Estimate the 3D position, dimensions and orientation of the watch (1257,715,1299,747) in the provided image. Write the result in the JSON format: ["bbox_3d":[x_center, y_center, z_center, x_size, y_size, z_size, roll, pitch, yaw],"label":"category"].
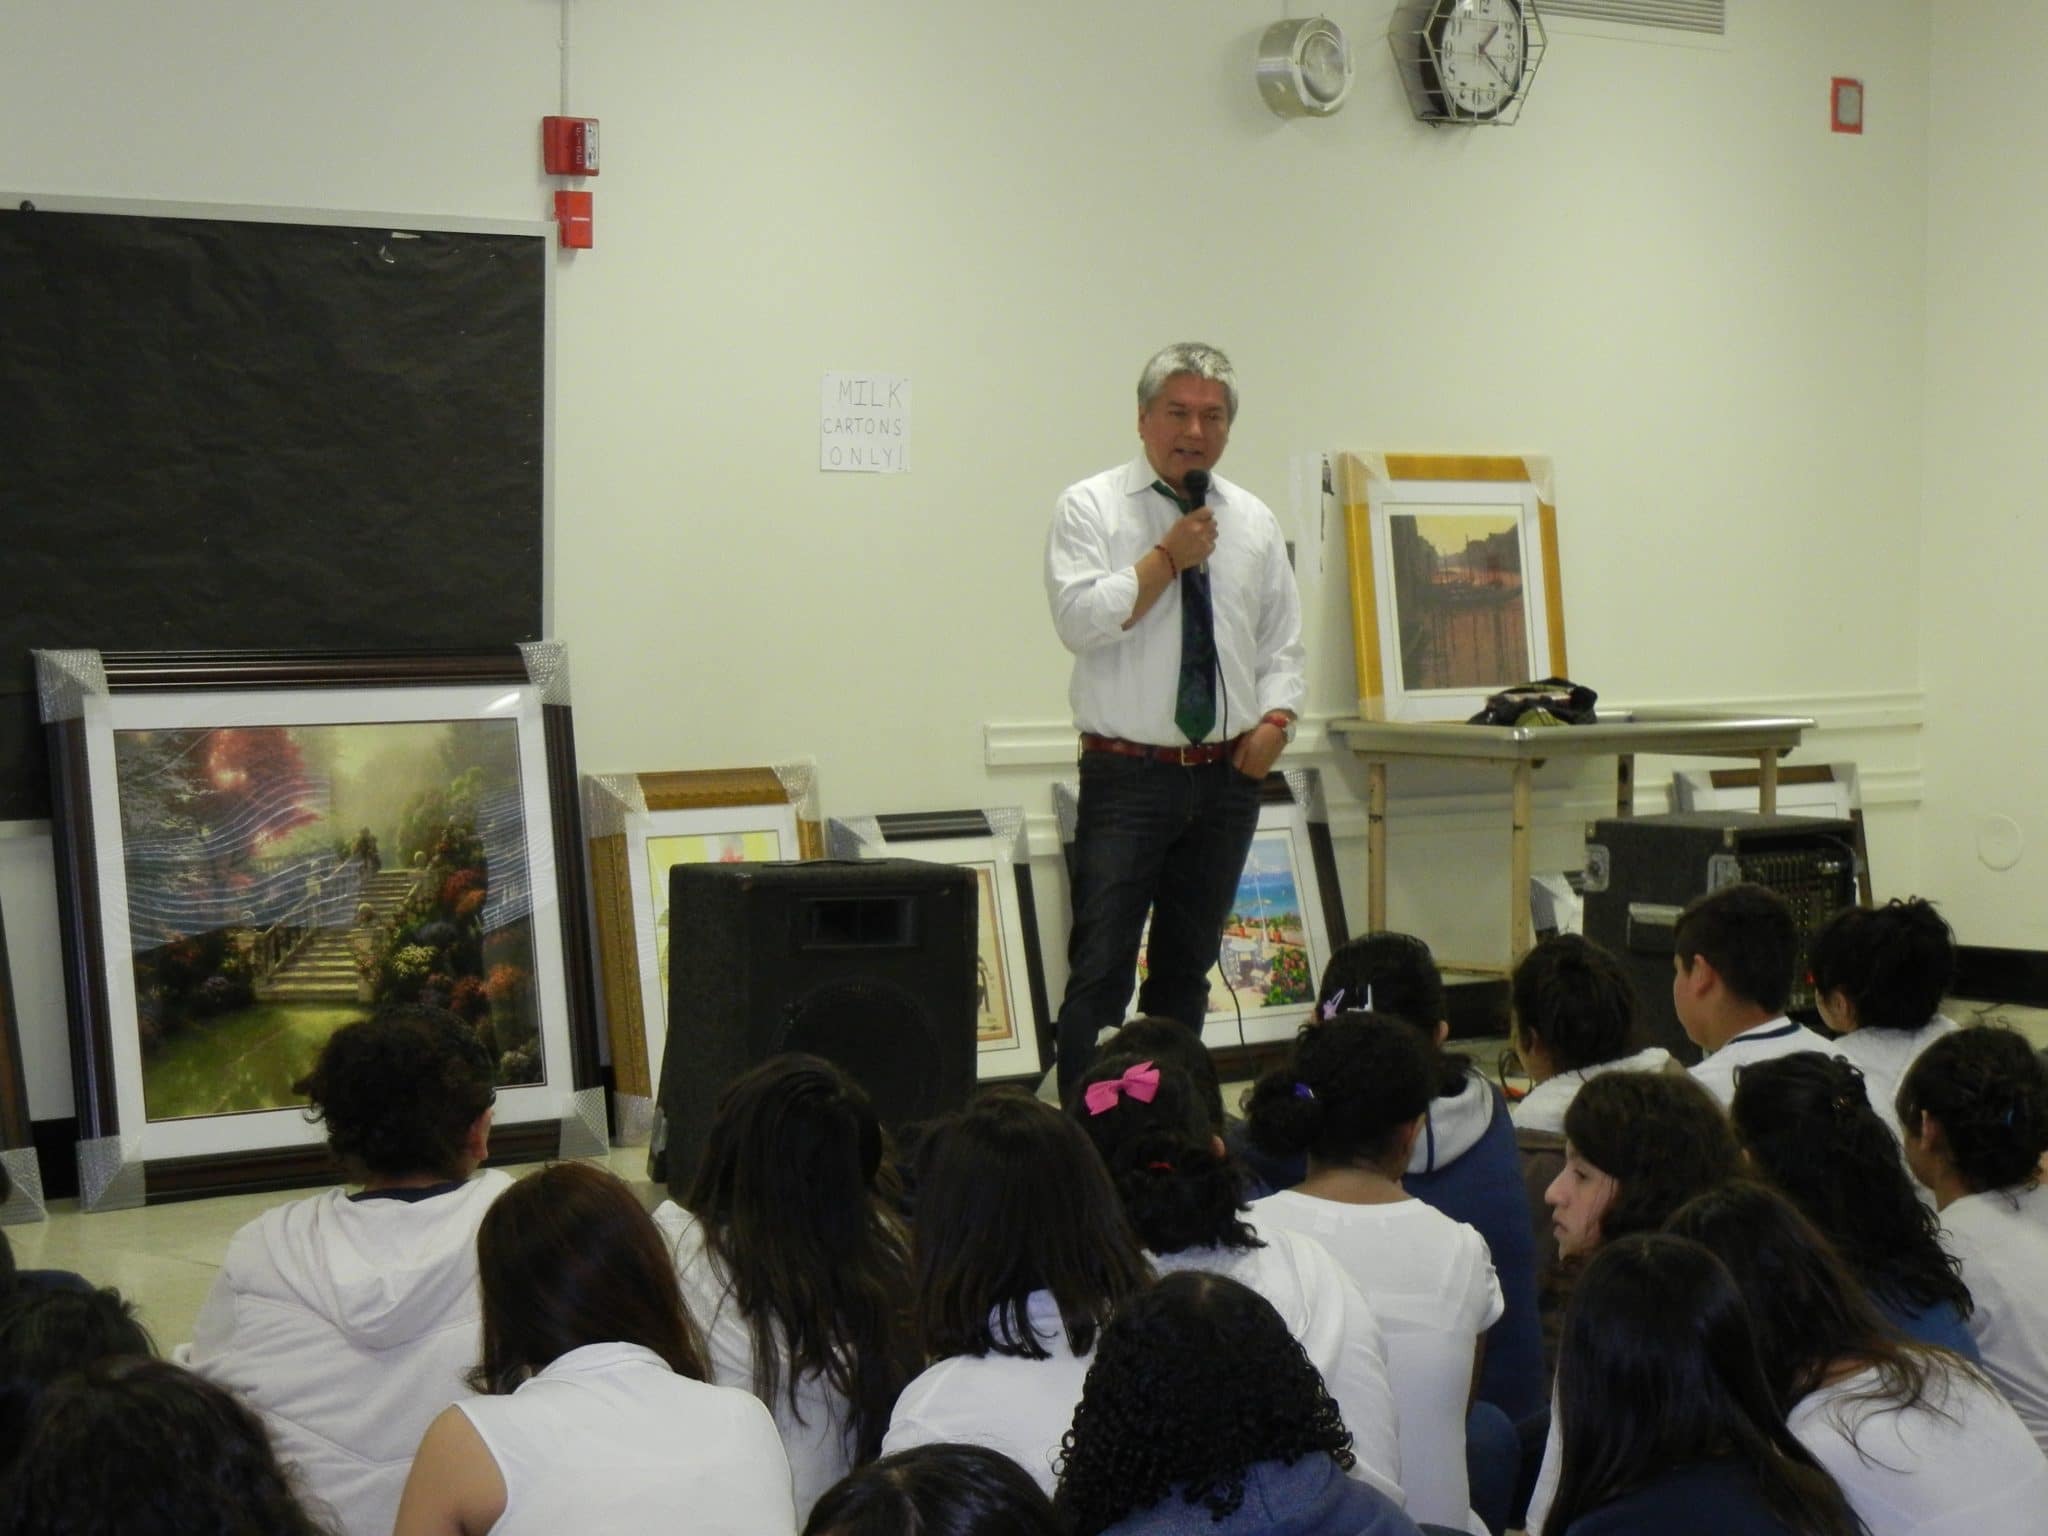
[{"bbox_3d":[0.629,-0.110,4.036,0.086,0.071,0.101,-1,-30,26],"label":"watch"}]

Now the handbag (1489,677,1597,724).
[{"bbox_3d":[1.682,-0.216,5.329,0.391,0.144,0.299,-2,3,6],"label":"handbag"}]

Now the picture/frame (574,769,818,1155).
[{"bbox_3d":[-0.873,0.464,4.519,0.665,1.021,0.092,-1,-32,-14],"label":"picture/frame"}]

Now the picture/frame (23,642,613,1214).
[{"bbox_3d":[-1.770,0.389,3.888,1.150,1.331,0.198,-2,-7,-28],"label":"picture/frame"}]

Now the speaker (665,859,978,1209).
[{"bbox_3d":[-0.380,0.489,3.801,0.510,0.800,0.442,1,27,-2],"label":"speaker"}]

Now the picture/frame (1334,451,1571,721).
[{"bbox_3d":[1.429,-0.611,5.584,0.797,0.932,0.059,-1,-4,-29],"label":"picture/frame"}]

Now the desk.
[{"bbox_3d":[1.895,0.280,5.648,1.389,1.004,0.864,-1,5,-25],"label":"desk"}]

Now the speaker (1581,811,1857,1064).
[{"bbox_3d":[2.060,0.493,4.671,0.629,0.715,0.497,-4,-3,-29],"label":"speaker"}]

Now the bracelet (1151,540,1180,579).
[{"bbox_3d":[0.342,-0.508,3.978,0.073,0.092,0.082,1,-5,-4],"label":"bracelet"}]

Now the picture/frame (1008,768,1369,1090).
[{"bbox_3d":[0.374,0.431,4.264,0.810,0.932,0.066,6,-13,-34],"label":"picture/frame"}]
